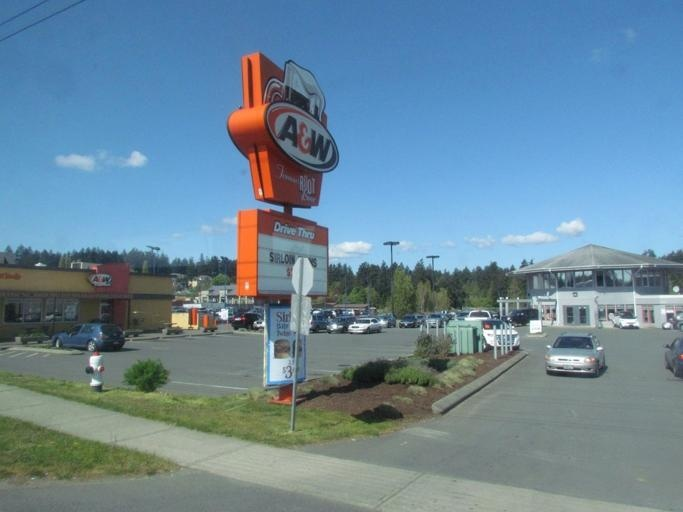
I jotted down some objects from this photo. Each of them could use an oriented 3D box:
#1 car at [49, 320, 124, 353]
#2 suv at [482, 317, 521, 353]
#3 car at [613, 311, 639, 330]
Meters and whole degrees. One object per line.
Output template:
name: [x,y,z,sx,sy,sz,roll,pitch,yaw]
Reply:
car: [-13.329,4.269,32.220,3.474,1.345,1.237,0,0,14]
suv: [7.863,3.874,29.771,1.283,1.135,2.441,0,-10,-6]
car: [27.263,6.276,58.868,1.384,1.455,2.824,-1,-14,8]
